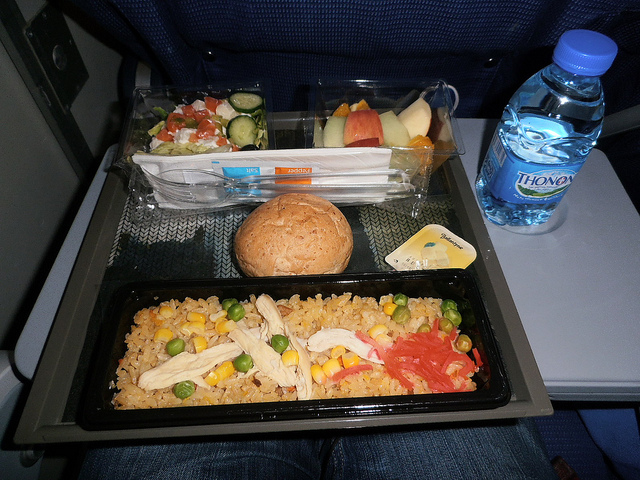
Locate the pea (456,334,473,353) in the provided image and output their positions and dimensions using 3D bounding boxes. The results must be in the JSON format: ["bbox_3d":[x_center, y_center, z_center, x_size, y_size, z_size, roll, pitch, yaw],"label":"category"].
[{"bbox_3d":[0.431,0.312,1.320,0.041,0.035,0.049,-3,60,-1],"label":"pea"}]

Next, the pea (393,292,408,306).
[{"bbox_3d":[0.253,0.190,1.385,0.037,0.034,0.023,7,49,16],"label":"pea"}]

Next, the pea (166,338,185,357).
[{"bbox_3d":[-0.438,0.322,1.330,0.050,0.042,0.038,-3,28,-30],"label":"pea"}]

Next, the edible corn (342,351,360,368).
[{"bbox_3d":[0.090,0.362,1.324,0.038,0.041,0.041,8,37,17],"label":"edible corn"}]

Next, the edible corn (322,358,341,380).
[{"bbox_3d":[0.042,0.381,1.293,0.046,0.023,0.051,-8,71,-12],"label":"edible corn"}]

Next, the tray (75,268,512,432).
[{"bbox_3d":[-0.053,0.268,1.296,1.150,0.180,0.583,-3,44,-2],"label":"tray"}]

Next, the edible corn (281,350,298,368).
[{"bbox_3d":[-0.090,0.354,1.306,0.048,0.016,0.044,-12,62,-6],"label":"edible corn"}]

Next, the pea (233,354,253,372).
[{"bbox_3d":[-0.229,0.368,1.306,0.048,0.052,0.050,-25,101,-37],"label":"pea"}]

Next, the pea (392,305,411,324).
[{"bbox_3d":[0.260,0.236,1.363,0.043,0.029,0.057,-3,79,3],"label":"pea"}]

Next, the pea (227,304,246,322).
[{"bbox_3d":[-0.258,0.226,1.357,0.049,0.052,0.049,16,18,42],"label":"pea"}]

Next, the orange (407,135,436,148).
[{"bbox_3d":[0.359,-0.344,1.559,0.062,0.030,0.068,-5,39,-11],"label":"orange"}]

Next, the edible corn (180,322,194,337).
[{"bbox_3d":[-0.415,0.277,1.355,0.033,0.017,0.038,2,97,1],"label":"edible corn"}]

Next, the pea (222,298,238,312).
[{"bbox_3d":[-0.283,0.201,1.397,0.035,0.038,0.038,34,95,33],"label":"pea"}]

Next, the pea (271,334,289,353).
[{"bbox_3d":[-0.123,0.311,1.320,0.048,0.050,0.050,29,84,10],"label":"pea"}]

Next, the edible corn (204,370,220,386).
[{"bbox_3d":[-0.318,0.412,1.302,0.053,0.035,0.056,2,56,-9],"label":"edible corn"}]

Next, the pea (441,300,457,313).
[{"bbox_3d":[0.402,0.205,1.374,0.033,0.021,0.036,-6,24,11],"label":"pea"}]

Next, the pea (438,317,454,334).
[{"bbox_3d":[0.384,0.264,1.349,0.042,0.026,0.048,6,99,20],"label":"pea"}]

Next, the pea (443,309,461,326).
[{"bbox_3d":[0.409,0.235,1.346,0.050,0.041,0.038,42,45,15],"label":"pea"}]

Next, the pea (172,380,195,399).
[{"bbox_3d":[-0.397,0.435,1.272,0.046,0.051,0.045,-20,79,-29],"label":"pea"}]

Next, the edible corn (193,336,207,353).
[{"bbox_3d":[-0.354,0.317,1.324,0.038,0.011,0.041,-11,90,-20],"label":"edible corn"}]
